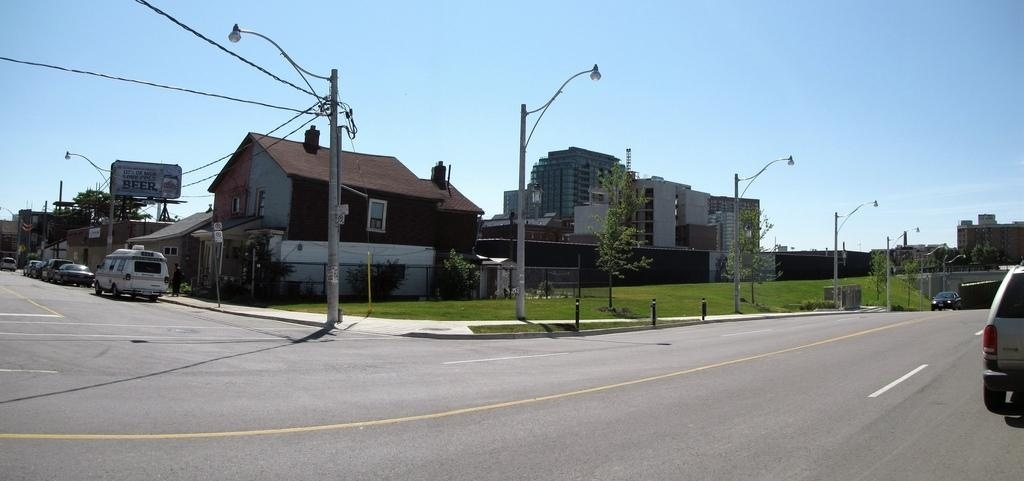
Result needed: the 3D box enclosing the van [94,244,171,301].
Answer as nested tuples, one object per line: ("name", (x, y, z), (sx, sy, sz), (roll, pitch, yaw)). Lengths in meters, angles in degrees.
("van", (-27.605, 2.281, 53.605), (7.270, 3.787, 3.393), (5, 7, 33))
